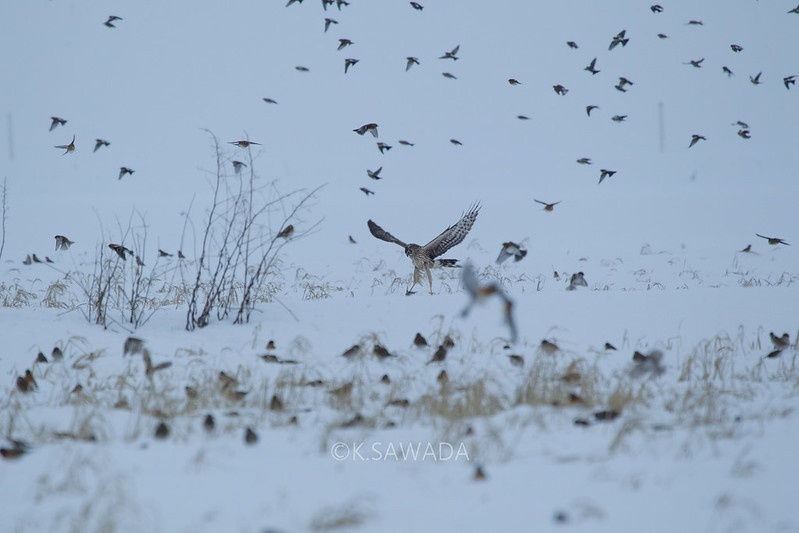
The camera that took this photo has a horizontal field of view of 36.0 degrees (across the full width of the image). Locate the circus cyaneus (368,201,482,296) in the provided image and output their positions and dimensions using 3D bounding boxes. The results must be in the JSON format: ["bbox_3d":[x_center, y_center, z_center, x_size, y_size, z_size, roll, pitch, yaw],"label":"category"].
[{"bbox_3d":[0.144,-0.058,6.580,0.678,0.487,0.431,-4,0,32],"label":"circus cyaneus"}]
